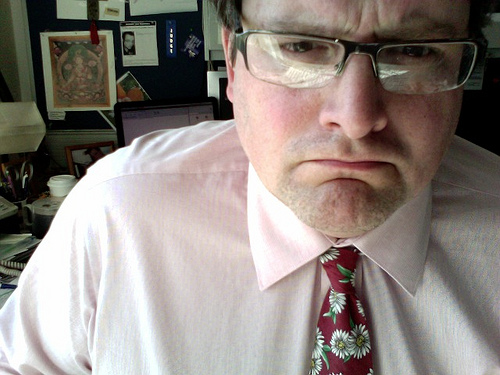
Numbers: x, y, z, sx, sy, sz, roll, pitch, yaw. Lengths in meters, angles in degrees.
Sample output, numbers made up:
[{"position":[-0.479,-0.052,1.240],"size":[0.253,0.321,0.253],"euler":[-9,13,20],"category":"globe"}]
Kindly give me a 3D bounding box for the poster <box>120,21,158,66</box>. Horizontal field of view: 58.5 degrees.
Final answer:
[{"position":[-0.579,-0.744,2.315],"size":[0.188,0.240,0.017],"euler":[-5,-9,-15],"category":"poster"}]

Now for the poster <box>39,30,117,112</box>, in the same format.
[{"position":[-0.897,-0.610,2.286],"size":[0.424,0.549,0.023],"euler":[-4,16,-12],"category":"poster"}]

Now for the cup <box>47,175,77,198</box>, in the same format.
[{"position":[-0.686,-0.013,1.615],"size":[0.082,0.056,0.089],"euler":[-2,3,0],"category":"cup"}]

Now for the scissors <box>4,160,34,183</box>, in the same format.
[{"position":[-0.916,-0.061,1.782],"size":[0.081,0.086,0.050],"euler":[23,0,-6],"category":"scissors"}]
